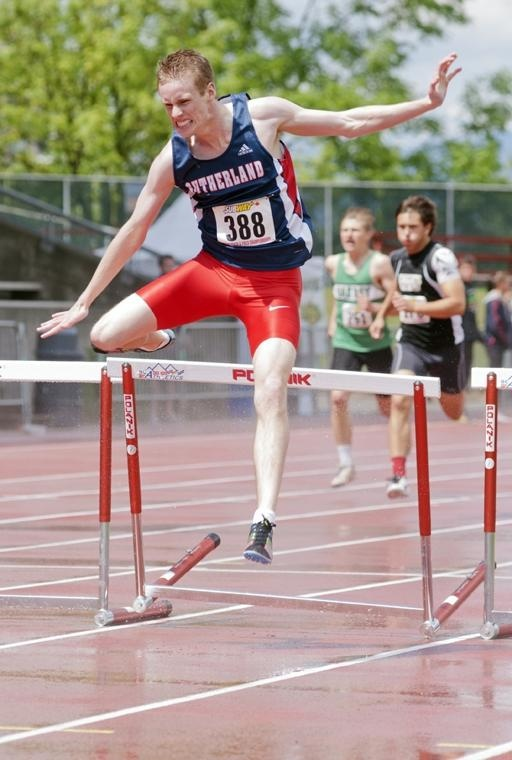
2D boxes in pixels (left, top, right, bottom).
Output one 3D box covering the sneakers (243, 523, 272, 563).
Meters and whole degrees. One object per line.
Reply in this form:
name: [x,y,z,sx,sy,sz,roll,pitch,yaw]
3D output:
sneakers: [0.011,0.481,2.978,0.082,0.126,0.145,-3,5,1]
